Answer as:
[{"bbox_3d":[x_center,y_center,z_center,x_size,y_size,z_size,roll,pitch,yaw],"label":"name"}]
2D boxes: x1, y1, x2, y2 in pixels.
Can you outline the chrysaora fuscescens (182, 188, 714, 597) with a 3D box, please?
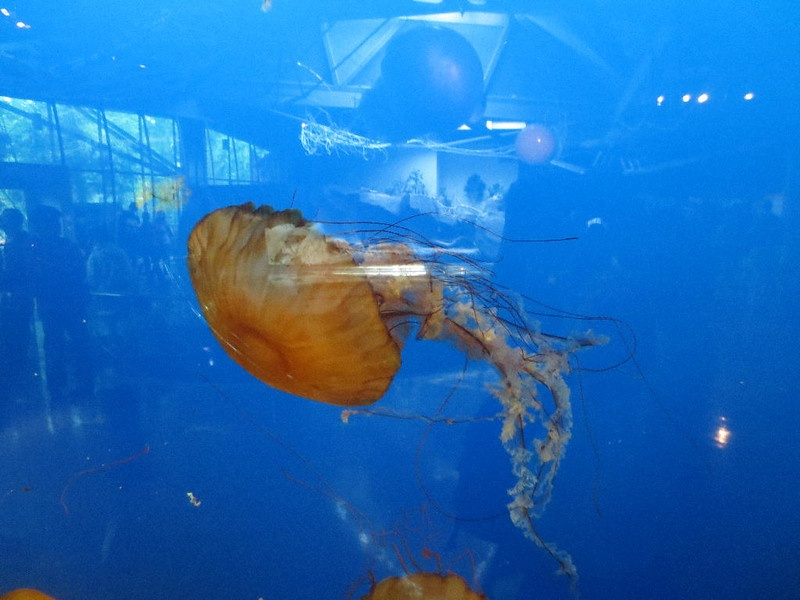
[{"bbox_3d":[0.049,0.181,4.693,2.401,1.915,0.884,15,4,-15],"label":"chrysaora fuscescens"}]
